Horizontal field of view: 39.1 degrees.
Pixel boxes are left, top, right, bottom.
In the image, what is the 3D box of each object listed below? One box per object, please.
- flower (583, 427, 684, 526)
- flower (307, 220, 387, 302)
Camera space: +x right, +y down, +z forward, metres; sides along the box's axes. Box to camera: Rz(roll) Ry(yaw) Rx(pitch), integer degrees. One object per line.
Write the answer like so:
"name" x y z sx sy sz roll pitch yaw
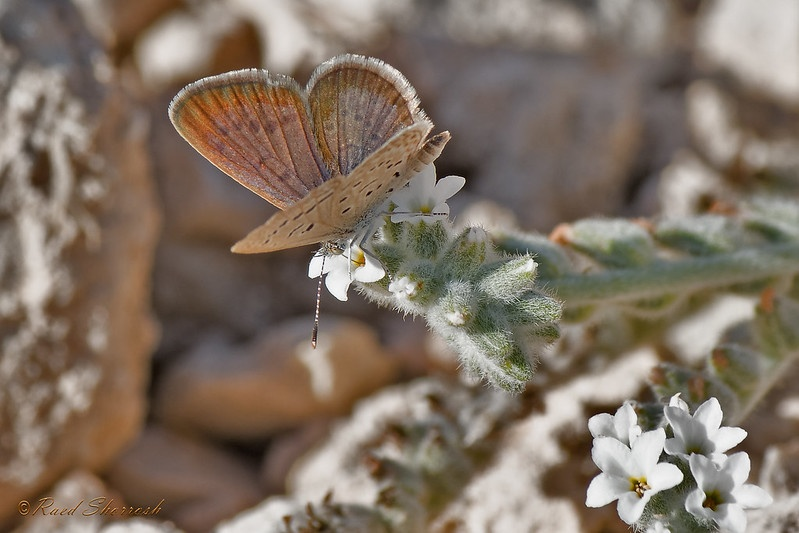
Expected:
"flower" 0.445 0.388 2.105 0.169 0.100 0.149 2 38 12
"flower" -0.078 0.000 2.249 0.079 0.157 0.155 22 31 -42
